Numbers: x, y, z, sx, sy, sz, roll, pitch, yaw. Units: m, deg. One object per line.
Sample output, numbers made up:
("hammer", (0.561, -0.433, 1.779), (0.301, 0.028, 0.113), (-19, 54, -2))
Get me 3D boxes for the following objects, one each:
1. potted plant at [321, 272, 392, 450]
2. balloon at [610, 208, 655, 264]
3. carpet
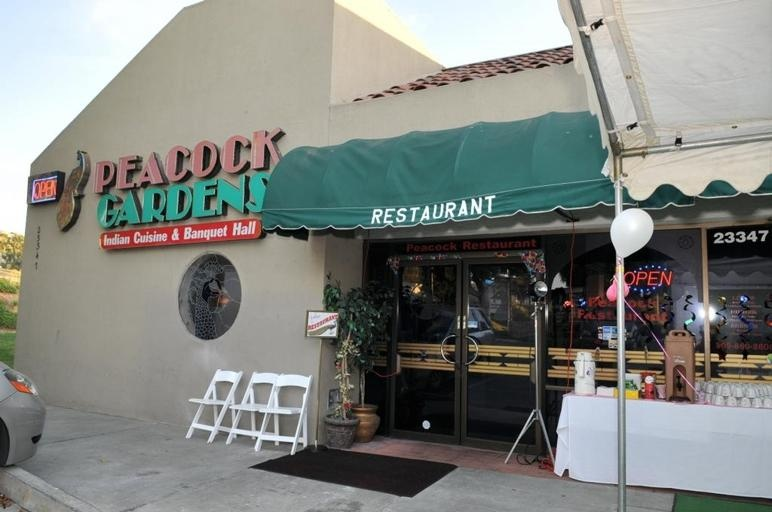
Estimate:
("potted plant", (-0.600, 1.872, 10.668), (0.770, 3.013, 1.487), (2, 4, 28))
("balloon", (3.170, -0.286, 7.399), (0.441, 0.647, 0.253), (0, 3, -16))
("carpet", (-0.413, 3.753, 10.167), (2.818, 0.137, 4.543), (2, -15, 16))
